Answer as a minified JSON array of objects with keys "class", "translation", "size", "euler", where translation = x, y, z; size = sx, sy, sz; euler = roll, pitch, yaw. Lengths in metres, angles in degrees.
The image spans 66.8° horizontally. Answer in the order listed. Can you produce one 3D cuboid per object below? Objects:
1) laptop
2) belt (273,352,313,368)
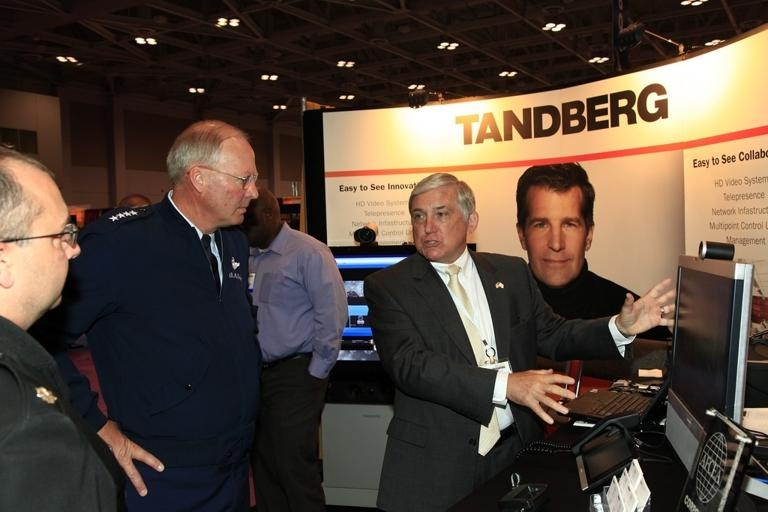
[{"class":"laptop","translation":[1.044,0.631,2.612],"size":[0.546,0.134,0.555],"euler":[-3,0,0]},{"class":"belt","translation":[-0.572,0.631,3.599],"size":[0.250,0.076,0.041],"euler":[-5,6,-22]}]
